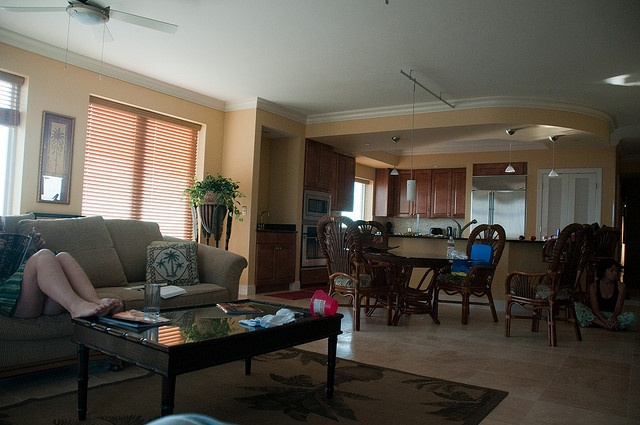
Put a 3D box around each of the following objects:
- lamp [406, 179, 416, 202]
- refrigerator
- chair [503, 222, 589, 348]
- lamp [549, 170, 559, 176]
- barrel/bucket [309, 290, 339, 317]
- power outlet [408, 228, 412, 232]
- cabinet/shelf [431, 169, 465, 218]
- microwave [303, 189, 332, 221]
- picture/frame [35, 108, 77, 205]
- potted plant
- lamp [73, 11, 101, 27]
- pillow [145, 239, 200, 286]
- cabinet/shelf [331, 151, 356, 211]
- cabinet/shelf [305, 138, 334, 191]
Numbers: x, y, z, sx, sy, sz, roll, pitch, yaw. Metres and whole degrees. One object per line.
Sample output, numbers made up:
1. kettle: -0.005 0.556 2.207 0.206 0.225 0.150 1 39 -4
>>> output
1. lamp: 1.385 -0.333 6.736 0.113 0.293 0.257 3 5 5
2. refrigerator: 3.505 0.054 8.523 1.043 0.985 0.405 -1 -3 35
3. chair: 2.810 0.829 5.420 0.813 1.473 1.497 6 6 29
4. lamp: 4.464 -0.738 8.423 0.151 0.146 0.159 2 -3 14
5. barrel/bucket: 0.006 0.719 3.435 0.171 0.203 0.202 -4 -22 45
6. power outlet: 2.159 0.439 10.662 0.109 0.088 0.091 5 5 27
7. cabinet/shelf: 2.902 -0.441 10.040 0.791 1.138 0.329 5 5 19
8. microwave: -0.091 -0.122 8.011 0.312 0.465 0.575 -1 -9 28
9. picture/frame: -3.428 -0.693 5.702 0.424 1.175 0.194 -1 7 -37
10. potted plant: -1.530 -0.205 6.507 0.830 0.453 0.797 1 3 -25
11. lamp: -2.100 -1.754 3.983 0.231 0.061 0.169 3 5 8
12. pillow: -1.542 0.543 4.538 0.471 0.426 0.163 1 -30 -14
13. cabinet/shelf: 0.436 -0.627 8.918 0.454 1.079 1.235 0 -2 20
14. cabinet/shelf: -0.054 -0.905 8.243 0.417 0.872 0.975 -1 -3 29
